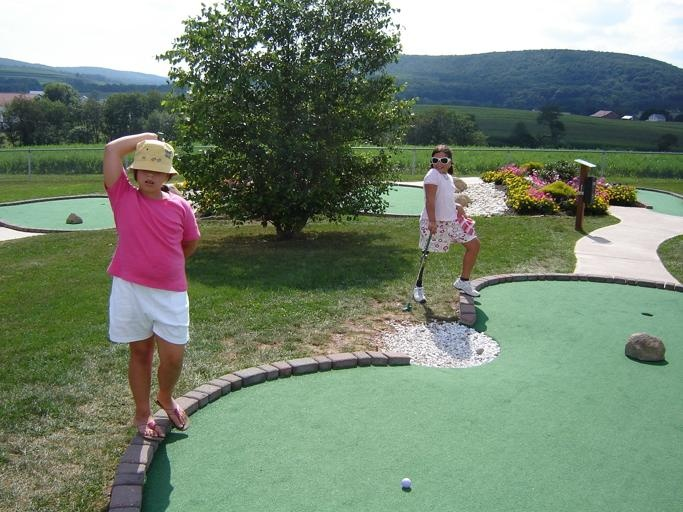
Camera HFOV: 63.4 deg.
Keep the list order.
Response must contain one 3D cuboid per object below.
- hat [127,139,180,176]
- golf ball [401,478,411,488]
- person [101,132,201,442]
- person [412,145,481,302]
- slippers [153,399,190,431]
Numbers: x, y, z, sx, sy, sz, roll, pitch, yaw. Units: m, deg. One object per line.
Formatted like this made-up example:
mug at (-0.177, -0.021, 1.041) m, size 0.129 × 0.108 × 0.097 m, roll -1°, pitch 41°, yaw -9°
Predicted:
hat at (-1.580, -0.829, 4.592) m, size 0.280 × 0.182 × 0.312 m, roll 7°, pitch 5°, yaw -34°
golf ball at (0.525, 1.819, 4.436) m, size 0.086 × 0.051 × 0.085 m, roll -1°, pitch 14°, yaw 0°
person at (-1.596, 0.301, 4.710) m, size 0.760 × 2.608 × 0.502 m, roll -5°, pitch 14°, yaw -16°
person at (1.574, -0.487, 7.985) m, size 0.837 × 2.186 × 0.486 m, roll 0°, pitch 14°, yaw 5°
slippers at (-1.514, 1.458, 5.022) m, size 0.402 × 0.116 × 0.161 m, roll 49°, pitch 28°, yaw 6°
